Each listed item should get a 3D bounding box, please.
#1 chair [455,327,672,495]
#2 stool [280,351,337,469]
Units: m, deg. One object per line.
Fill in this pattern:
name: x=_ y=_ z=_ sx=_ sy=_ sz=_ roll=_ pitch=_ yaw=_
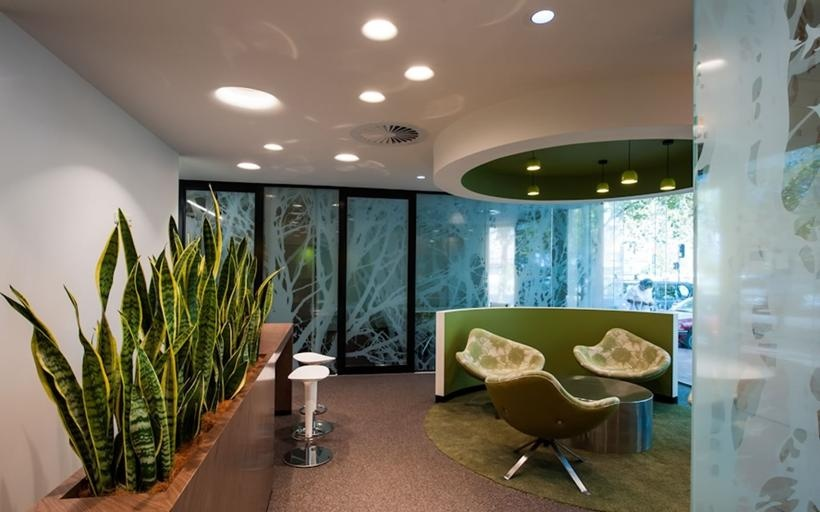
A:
chair: x=1.369 y=1.319 z=4.609 sx=1.334 sy=0.775 sz=1.311 roll=-3 pitch=0 yaw=2
stool: x=-0.873 y=1.244 z=4.688 sx=0.386 sy=0.749 sz=0.883 roll=-1 pitch=8 yaw=-8
